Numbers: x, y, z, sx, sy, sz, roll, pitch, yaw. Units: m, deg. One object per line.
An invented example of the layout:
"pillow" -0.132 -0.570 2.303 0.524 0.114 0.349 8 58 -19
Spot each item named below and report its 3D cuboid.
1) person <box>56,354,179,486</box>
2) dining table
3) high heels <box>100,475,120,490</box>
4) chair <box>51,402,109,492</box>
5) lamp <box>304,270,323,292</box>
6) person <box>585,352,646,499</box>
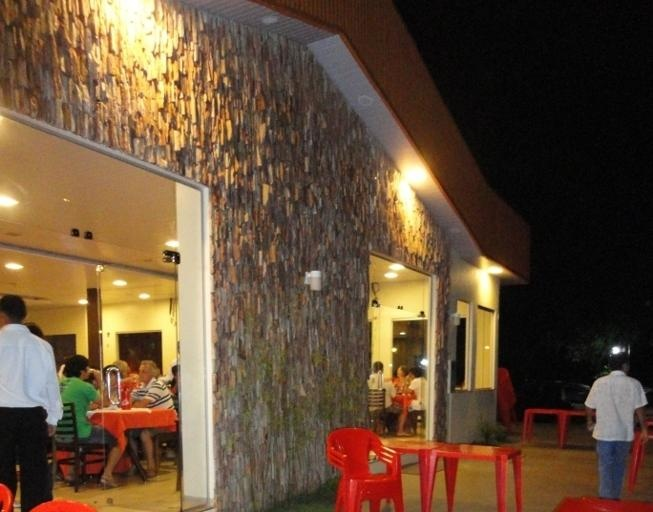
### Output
"person" -1.915 1.341 5.177 0.821 1.291 1.032 -2 -2 40
"dining table" -1.787 1.579 5.198 0.562 0.361 0.554 -4 -7 41
"high heels" -1.865 1.939 4.986 0.162 0.077 0.058 27 -14 -35
"chair" -2.148 1.585 5.032 0.426 0.819 0.463 -7 -9 40
"lamp" -0.150 0.240 6.431 0.122 0.235 0.263 -6 -15 25
"person" 2.979 1.711 5.959 0.568 1.433 0.391 -4 -12 19
